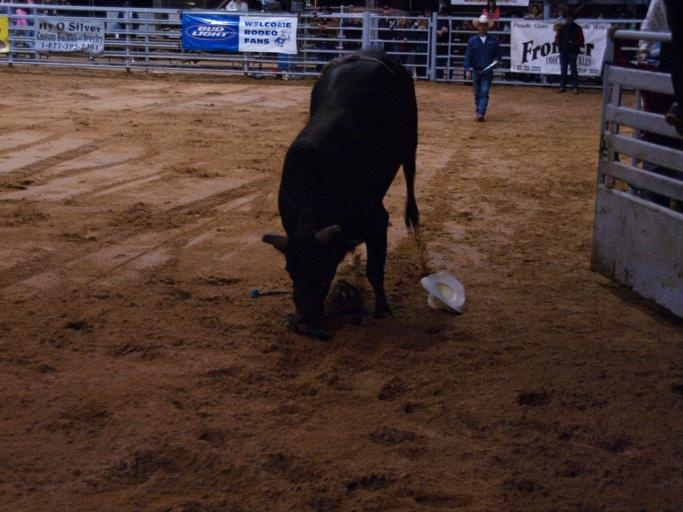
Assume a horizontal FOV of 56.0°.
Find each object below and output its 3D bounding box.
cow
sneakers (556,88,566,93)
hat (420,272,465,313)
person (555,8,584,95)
[{"bbox_3d":[0.028,-0.566,5.287,0.908,2.175,1.913,6,19,12],"label":"cow"},{"bbox_3d":[6.733,-5.054,19.696,0.323,0.106,0.105,-4,19,-41],"label":"sneakers"},{"bbox_3d":[0.897,0.319,5.548,0.401,0.175,0.361,8,43,-13],"label":"hat"},{"bbox_3d":[6.742,-6.082,19.176,0.875,2.370,1.197,7,20,14],"label":"person"}]
